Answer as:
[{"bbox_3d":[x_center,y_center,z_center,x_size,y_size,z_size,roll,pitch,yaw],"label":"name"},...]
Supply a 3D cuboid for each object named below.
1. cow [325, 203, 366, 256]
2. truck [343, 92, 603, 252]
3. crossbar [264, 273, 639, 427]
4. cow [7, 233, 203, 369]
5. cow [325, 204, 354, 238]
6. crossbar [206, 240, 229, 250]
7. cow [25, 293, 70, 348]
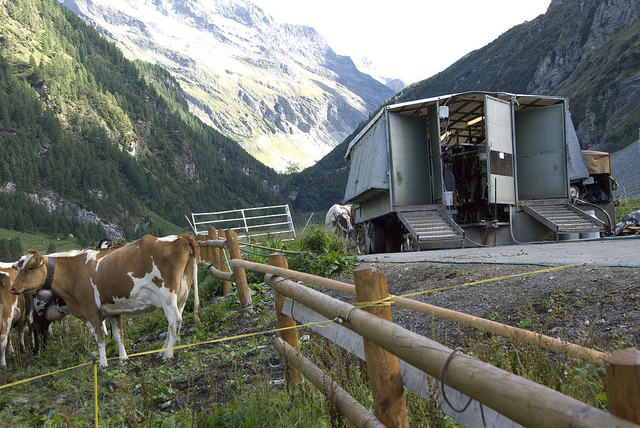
[{"bbox_3d":[1.256,0.398,21.077,0.853,1.933,3.334,-3,-10,-8],"label":"cow"},{"bbox_3d":[4.706,-1.415,16.896,5.104,3.819,7.319,-2,1,-17],"label":"truck"},{"bbox_3d":[1.026,1.177,4.213,0.636,1.186,2.909,-5,-4,-42],"label":"crossbar"},{"bbox_3d":[-3.797,1.519,8.850,2.996,1.559,0.977,-8,-3,18],"label":"cow"},{"bbox_3d":[0.872,0.181,22.506,1.269,1.330,2.301,-7,-2,2],"label":"cow"},{"bbox_3d":[-2.295,0.669,10.556,0.195,0.234,1.212,-16,7,-32],"label":"crossbar"},{"bbox_3d":[-6.191,2.410,10.748,1.917,1.115,0.459,-2,0,41],"label":"cow"}]
